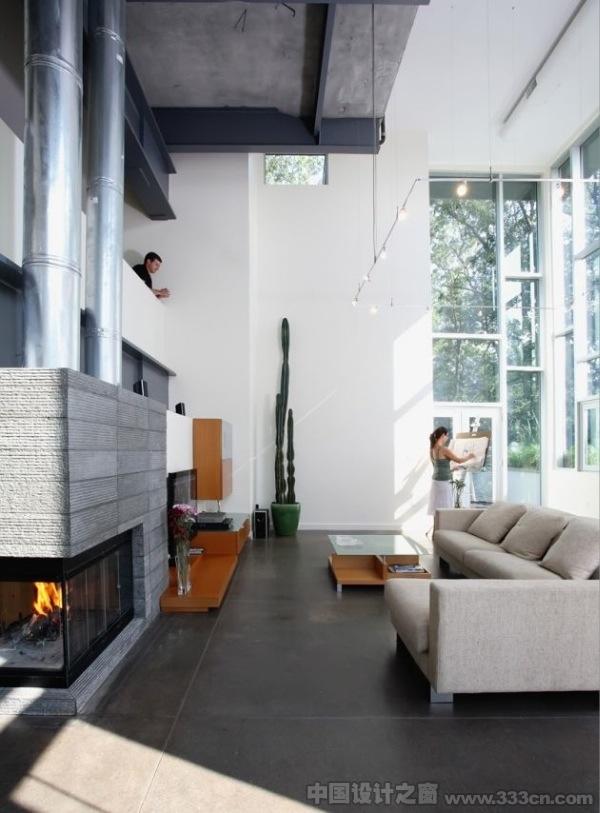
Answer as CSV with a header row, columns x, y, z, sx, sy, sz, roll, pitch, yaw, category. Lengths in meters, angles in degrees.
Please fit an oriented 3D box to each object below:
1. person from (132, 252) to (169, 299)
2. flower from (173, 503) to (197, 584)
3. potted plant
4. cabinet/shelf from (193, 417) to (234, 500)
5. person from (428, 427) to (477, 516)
x,y,z,sx,sy,sz,roll,pitch,yaw,category
-1.651,-1.464,6.936,0.317,0.491,0.962,1,-3,-10,person
-0.814,0.993,4.302,0.157,0.632,0.474,1,-2,-12,flower
-0.199,0.206,8.129,0.347,2.872,0.686,0,-2,-3,potted plant
-0.943,0.557,6.592,0.236,0.841,0.832,0,-1,3,cabinet/shelf
1.786,0.753,7.314,0.499,1.023,2.120,0,-3,16,person
